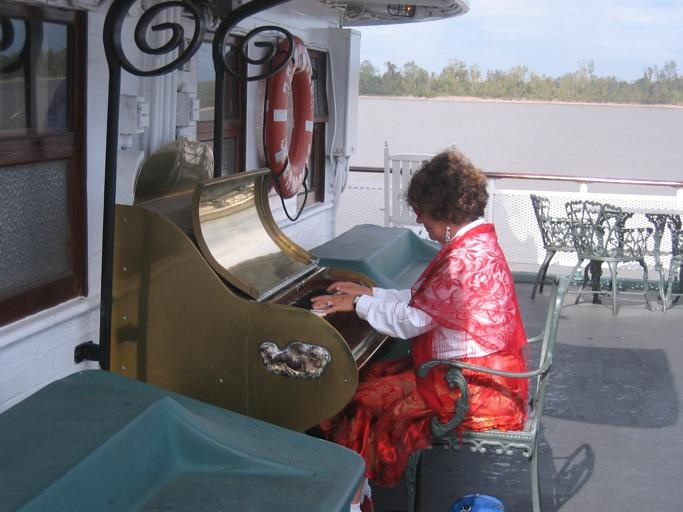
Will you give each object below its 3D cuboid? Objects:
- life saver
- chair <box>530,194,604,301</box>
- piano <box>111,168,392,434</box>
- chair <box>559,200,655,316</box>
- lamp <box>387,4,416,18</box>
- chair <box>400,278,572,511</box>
[{"bbox_3d":[-0.367,-0.940,3.959,0.309,1.216,0.416,6,11,5],"label":"life saver"},{"bbox_3d":[2.428,-0.125,6.607,1.010,1.627,1.021,-1,3,18],"label":"chair"},{"bbox_3d":[-0.464,0.070,2.901,0.992,1.139,1.414,3,9,12],"label":"piano"},{"bbox_3d":[2.779,0.001,5.862,0.866,1.186,0.985,10,16,39],"label":"chair"},{"bbox_3d":[0.629,-2.563,5.901,0.292,0.107,0.360,2,13,7],"label":"lamp"},{"bbox_3d":[0.648,0.619,3.076,0.905,1.625,0.933,3,2,13],"label":"chair"}]
